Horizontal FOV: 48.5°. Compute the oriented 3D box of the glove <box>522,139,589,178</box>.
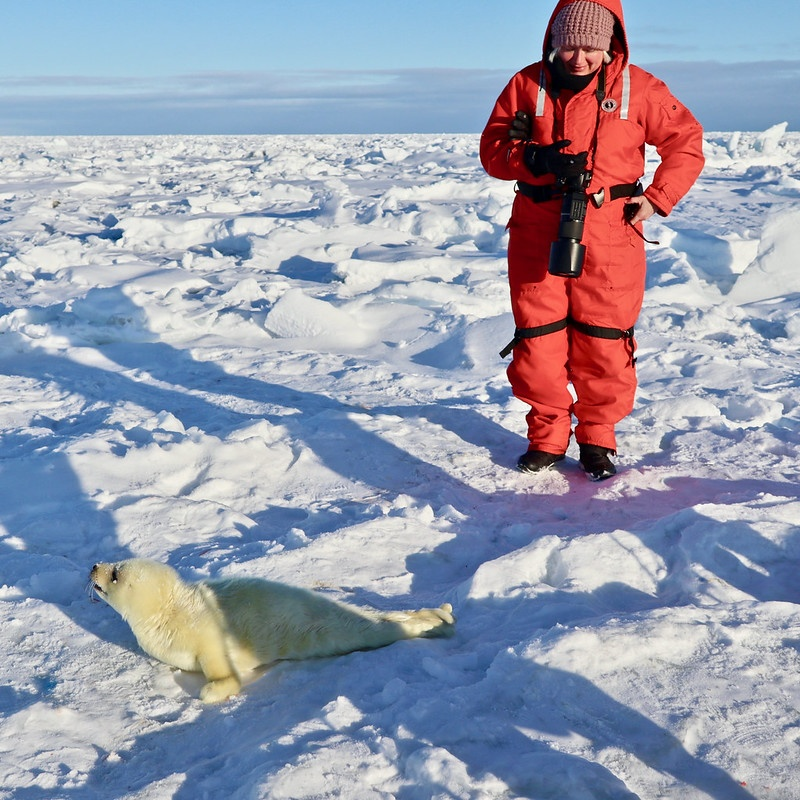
[{"bbox_3d":[0.566,-0.889,3.301,0.144,0.132,0.264,-6,16,-17],"label":"glove"}]

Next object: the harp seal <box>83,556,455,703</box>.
[{"bbox_3d":[-0.484,0.622,2.507,1.319,0.334,0.324,-5,-6,3],"label":"harp seal"}]
